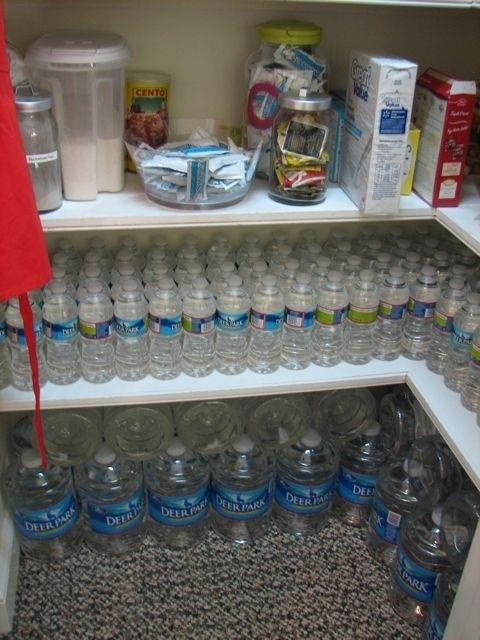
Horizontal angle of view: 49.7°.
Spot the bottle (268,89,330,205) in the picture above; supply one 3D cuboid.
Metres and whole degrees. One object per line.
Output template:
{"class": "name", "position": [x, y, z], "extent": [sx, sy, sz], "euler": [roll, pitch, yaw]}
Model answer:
{"class": "bottle", "position": [0.125, -0.345, 1.080], "extent": [0.120, 0.183, 0.117], "euler": [0, 31, 0]}

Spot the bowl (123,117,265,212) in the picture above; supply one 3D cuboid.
{"class": "bowl", "position": [-0.078, -0.323, 1.098], "extent": [0.235, 0.118, 0.282], "euler": [13, 33, 20]}

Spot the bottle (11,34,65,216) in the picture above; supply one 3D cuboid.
{"class": "bottle", "position": [-0.381, -0.362, 0.977], "extent": [0.061, 0.280, 0.240], "euler": [-11, 32, -18]}
